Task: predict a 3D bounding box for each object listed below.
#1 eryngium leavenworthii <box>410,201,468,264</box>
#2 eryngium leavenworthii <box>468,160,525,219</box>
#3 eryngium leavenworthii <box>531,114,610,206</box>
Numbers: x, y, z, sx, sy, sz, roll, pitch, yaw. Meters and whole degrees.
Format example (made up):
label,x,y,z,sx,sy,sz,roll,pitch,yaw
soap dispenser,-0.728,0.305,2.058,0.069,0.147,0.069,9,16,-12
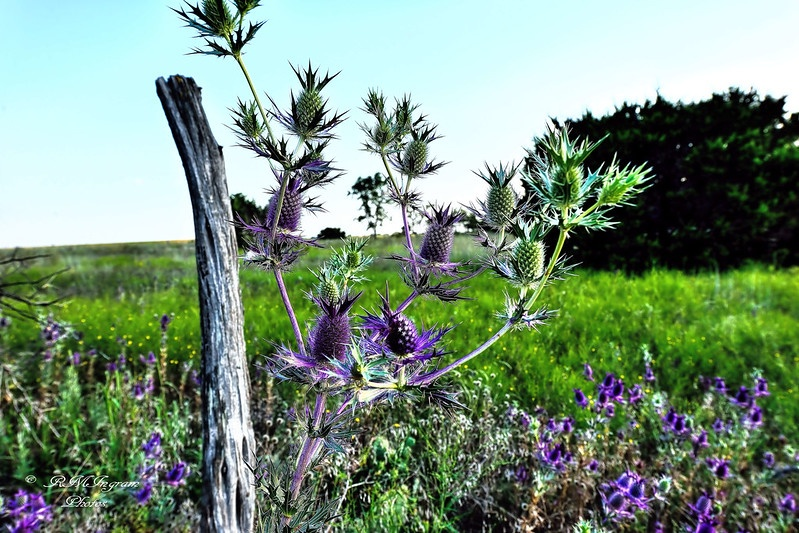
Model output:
label,x,y,z,sx,sy,sz,roll,pitch,yaw
eryngium leavenworthii,0.471,-0.341,6.324,0.544,0.685,0.327,-4,3,6
eryngium leavenworthii,1.115,-0.770,6.205,0.417,0.661,0.361,-4,3,9
eryngium leavenworthii,1.680,-1.018,5.718,0.617,0.850,0.517,-3,4,30
